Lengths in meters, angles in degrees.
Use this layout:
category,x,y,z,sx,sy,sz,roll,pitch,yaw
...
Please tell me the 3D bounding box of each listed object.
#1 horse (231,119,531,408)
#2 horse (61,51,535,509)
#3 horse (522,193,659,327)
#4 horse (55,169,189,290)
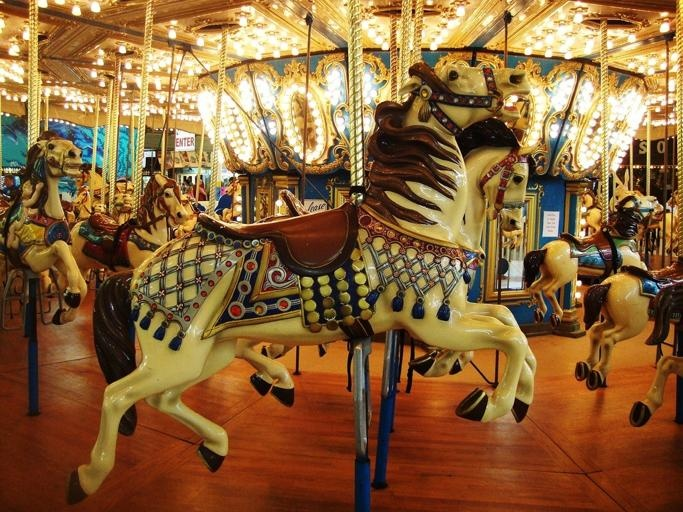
category,x,y,z,sx,sy,sz,roll,pitch,yaw
horse,0.028,0.088,4.048,2.494,1.861,0.557,-2,11,-5
horse,-0.242,0.187,5.058,4.099,3.775,1.224,-3,-6,-2
horse,2.809,0.036,7.173,1.716,1.648,0.632,-6,-4,6
horse,-2.320,-0.111,6.790,1.519,1.476,0.573,2,3,22
